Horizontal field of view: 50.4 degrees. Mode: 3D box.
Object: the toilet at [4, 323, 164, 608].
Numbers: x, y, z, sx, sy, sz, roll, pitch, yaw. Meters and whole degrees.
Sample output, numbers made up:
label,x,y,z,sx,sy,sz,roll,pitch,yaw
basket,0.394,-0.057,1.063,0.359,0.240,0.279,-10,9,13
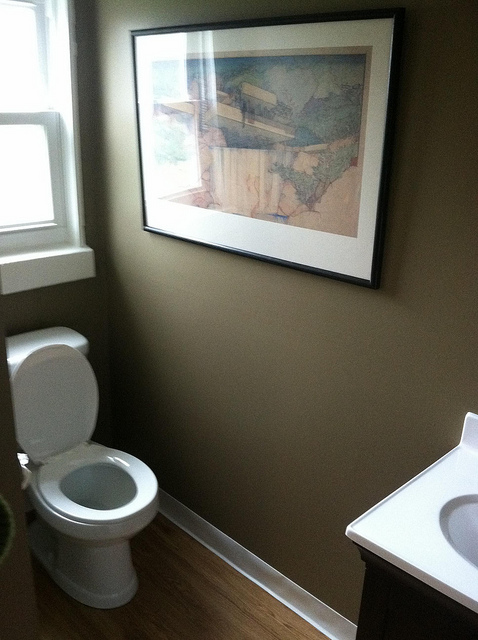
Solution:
label,x,y,z,sx,sy,sz,roll,pitch,yaw
toilet,-0.622,0.529,1.932,0.419,0.908,0.784,-10,18,-37
